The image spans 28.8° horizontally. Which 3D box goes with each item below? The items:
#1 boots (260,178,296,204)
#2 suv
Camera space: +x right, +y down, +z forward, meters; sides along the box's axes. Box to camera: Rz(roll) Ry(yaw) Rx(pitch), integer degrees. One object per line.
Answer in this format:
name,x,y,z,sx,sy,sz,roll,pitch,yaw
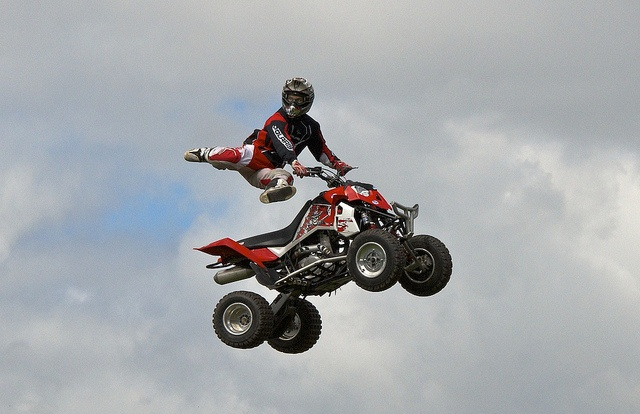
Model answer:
boots,-0.763,-0.350,23.233,0.772,0.284,0.546,-11,32,37
suv,-0.076,0.805,23.173,4.200,2.441,2.763,-21,79,24
